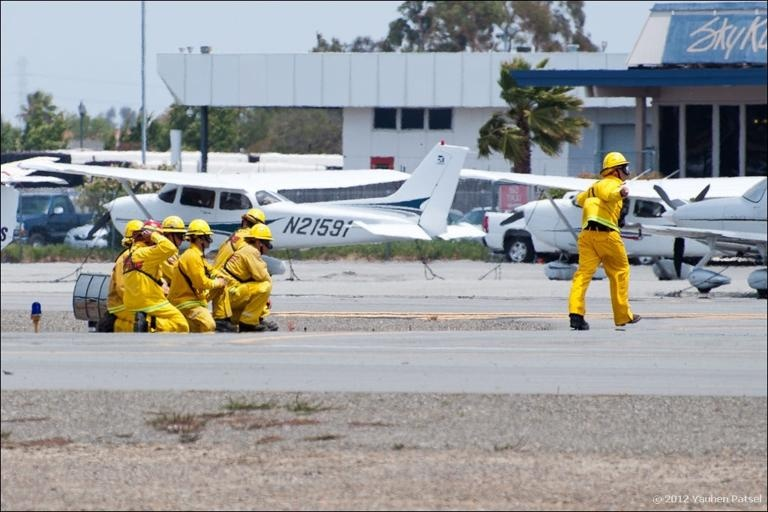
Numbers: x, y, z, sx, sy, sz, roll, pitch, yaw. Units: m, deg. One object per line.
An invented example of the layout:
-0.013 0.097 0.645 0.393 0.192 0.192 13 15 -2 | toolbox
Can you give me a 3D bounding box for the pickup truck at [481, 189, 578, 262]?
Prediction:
3.952 -0.708 49.135 2.939 1.073 1.415 -3 2 21 | pickup truck
